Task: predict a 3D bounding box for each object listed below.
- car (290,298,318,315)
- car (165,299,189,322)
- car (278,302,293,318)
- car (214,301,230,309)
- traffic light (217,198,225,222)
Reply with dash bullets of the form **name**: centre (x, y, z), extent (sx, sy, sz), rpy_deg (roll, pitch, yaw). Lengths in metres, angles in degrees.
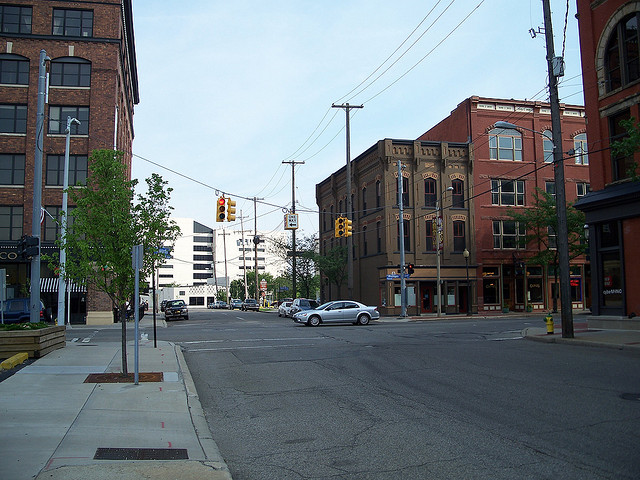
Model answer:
- **car**: centre (-1.108, 4.780, 44.623), extent (1.602, 0.879, 1.000), rpy_deg (-4, 1, -9)
- **car**: centre (-11.206, 5.440, 49.152), extent (1.106, 1.032, 2.352), rpy_deg (0, -11, -8)
- **car**: centre (-2.881, 5.806, 52.316), extent (0.901, 0.705, 1.880), rpy_deg (2, -9, -23)
- **car**: centre (-16.444, 10.689, 103.521), extent (1.265, 1.044, 2.767), rpy_deg (2, 3, -20)
- **traffic light**: centre (-4.838, -1.543, 30.607), extent (0.335, 0.915, 1.220), rpy_deg (-1, -7, -10)
